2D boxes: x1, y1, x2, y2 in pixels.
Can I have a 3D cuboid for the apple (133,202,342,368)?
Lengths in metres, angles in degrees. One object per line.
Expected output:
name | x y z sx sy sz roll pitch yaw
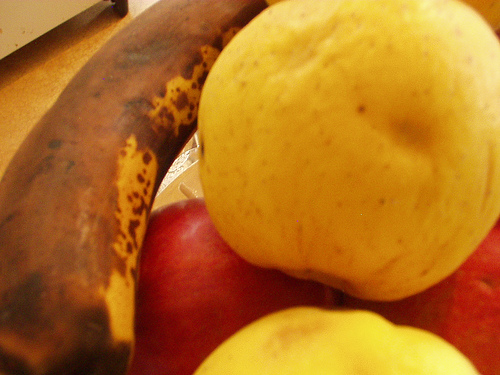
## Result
apple | -0.040 0.118 0.599 0.185 0.180 0.180 -12 50 -1
